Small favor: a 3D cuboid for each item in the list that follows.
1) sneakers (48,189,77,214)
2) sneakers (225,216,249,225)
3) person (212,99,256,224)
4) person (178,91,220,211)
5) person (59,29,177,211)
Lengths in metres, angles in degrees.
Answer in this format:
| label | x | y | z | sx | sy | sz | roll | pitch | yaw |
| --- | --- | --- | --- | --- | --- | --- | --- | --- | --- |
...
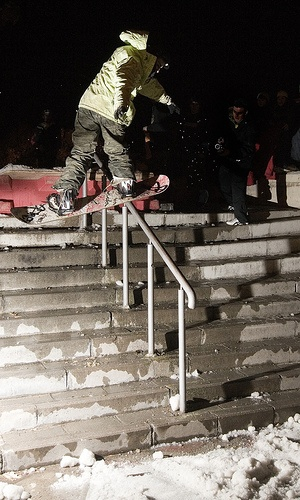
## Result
| label | x | y | z | sx | sy | sz | roll | pitch | yaw |
| --- | --- | --- | --- | --- | --- | --- | --- | --- | --- |
| sneakers | -0.880 | -0.475 | 4.926 | 0.297 | 0.299 | 0.178 | -2 | 15 | -15 |
| sneakers | 1.177 | -0.396 | 6.722 | 0.292 | 0.128 | 0.109 | 5 | 4 | -5 |
| person | 1.205 | -1.264 | 7.112 | 0.534 | 1.654 | 1.523 | 5 | 14 | 8 |
| person | 0.910 | -1.808 | 9.404 | 0.584 | 2.435 | 0.361 | -3 | -5 | -1 |
| person | -0.440 | -1.325 | 5.188 | 0.929 | 1.813 | 1.058 | 4 | 14 | 3 |
